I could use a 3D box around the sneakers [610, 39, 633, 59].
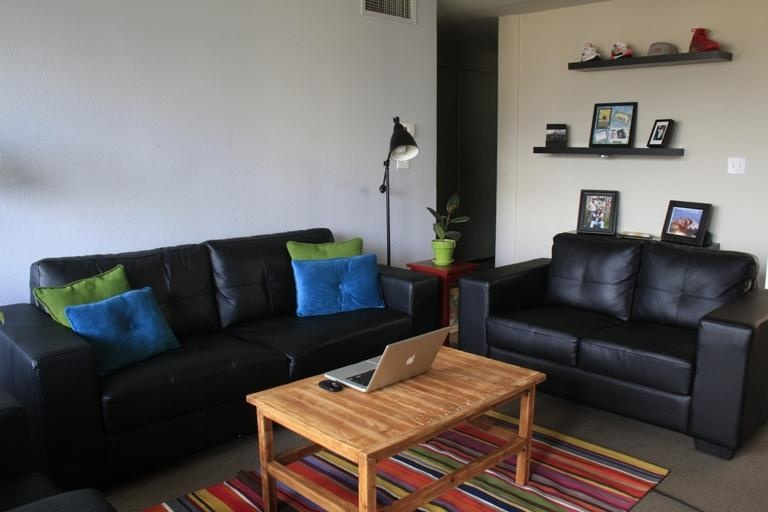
[{"bbox_3d":[2.149,-1.864,5.039,0.109,0.127,0.289,-32,15,-1],"label":"sneakers"}]

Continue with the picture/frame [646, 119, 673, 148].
[{"bbox_3d":[2.469,-1.092,4.941,0.185,0.248,0.158,7,17,27],"label":"picture/frame"}]

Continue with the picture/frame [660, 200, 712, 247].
[{"bbox_3d":[2.648,-0.278,4.819,0.414,0.421,0.073,16,-1,44],"label":"picture/frame"}]

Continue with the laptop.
[{"bbox_3d":[0.001,0.554,2.986,0.461,0.260,0.423,-13,17,-42],"label":"laptop"}]

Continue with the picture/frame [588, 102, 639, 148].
[{"bbox_3d":[2.165,-1.222,5.178,0.472,0.491,0.036,9,2,40],"label":"picture/frame"}]

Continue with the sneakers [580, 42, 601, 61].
[{"bbox_3d":[1.918,-1.901,5.170,0.138,0.122,0.266,-5,16,4],"label":"sneakers"}]

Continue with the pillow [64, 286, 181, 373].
[{"bbox_3d":[-1.546,0.437,3.267,0.166,0.440,0.559,-33,-8,39],"label":"pillow"}]
